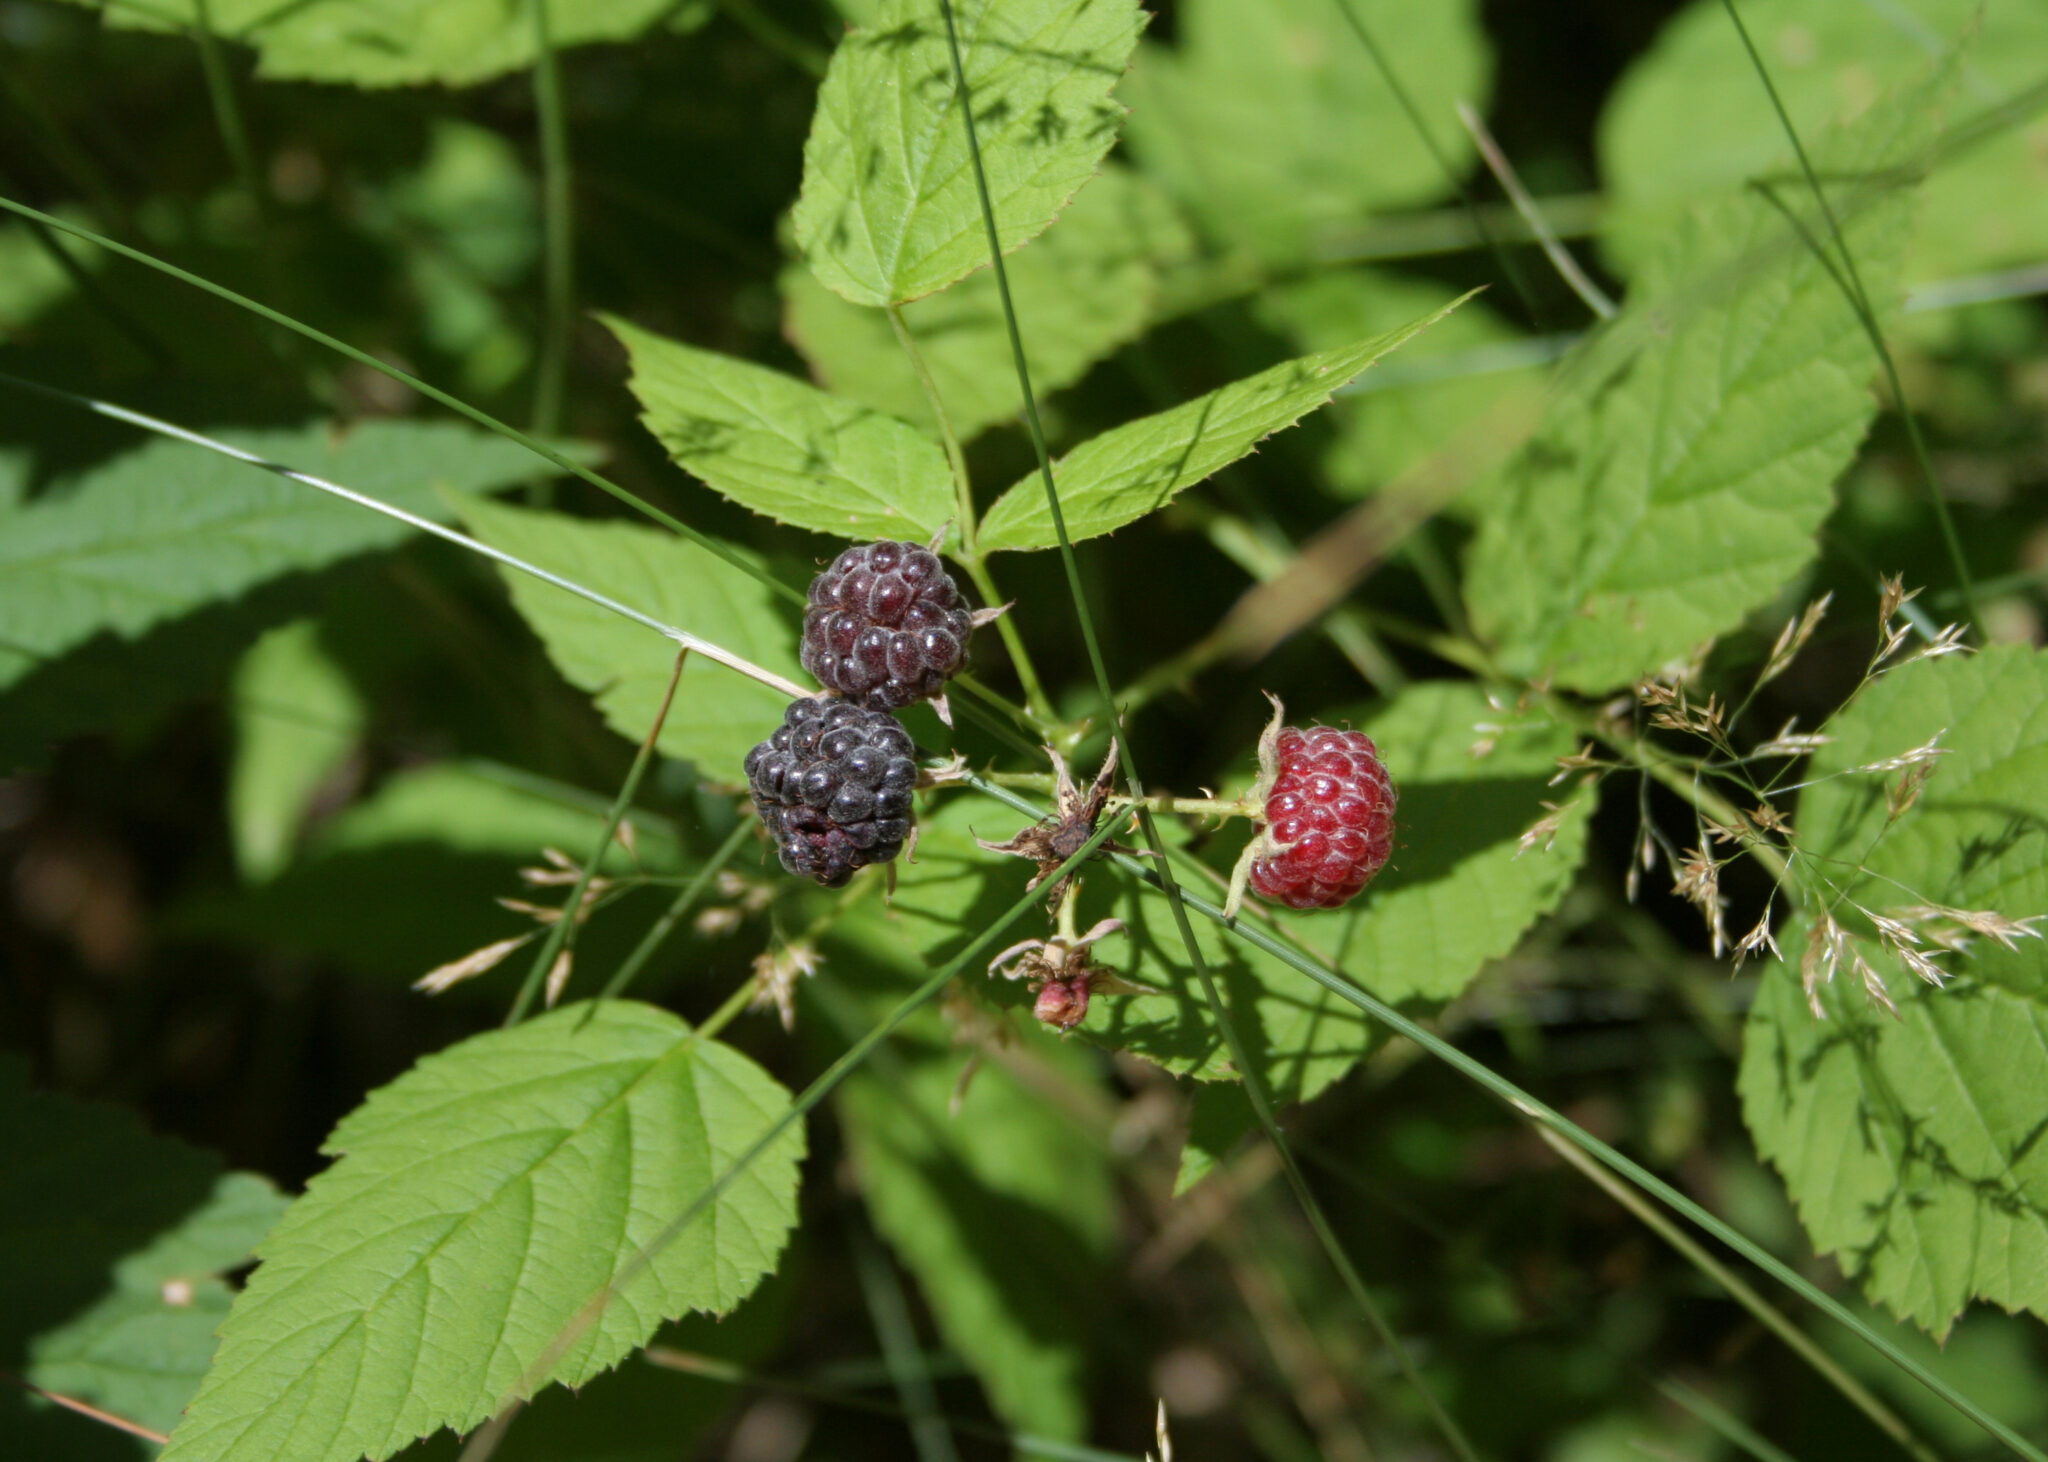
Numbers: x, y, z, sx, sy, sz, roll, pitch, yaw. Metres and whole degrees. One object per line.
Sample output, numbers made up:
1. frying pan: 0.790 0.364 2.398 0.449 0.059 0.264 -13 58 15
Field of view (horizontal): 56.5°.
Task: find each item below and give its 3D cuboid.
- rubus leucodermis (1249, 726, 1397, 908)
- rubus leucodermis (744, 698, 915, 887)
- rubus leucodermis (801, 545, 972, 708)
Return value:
1. rubus leucodermis: 0.531 0.165 3.413 0.217 0.315 0.243 17 -4 27
2. rubus leucodermis: -0.358 0.085 3.349 0.261 0.218 0.367 -1 7 33
3. rubus leucodermis: -0.243 -0.179 3.329 0.293 0.282 0.178 1 19 -8
